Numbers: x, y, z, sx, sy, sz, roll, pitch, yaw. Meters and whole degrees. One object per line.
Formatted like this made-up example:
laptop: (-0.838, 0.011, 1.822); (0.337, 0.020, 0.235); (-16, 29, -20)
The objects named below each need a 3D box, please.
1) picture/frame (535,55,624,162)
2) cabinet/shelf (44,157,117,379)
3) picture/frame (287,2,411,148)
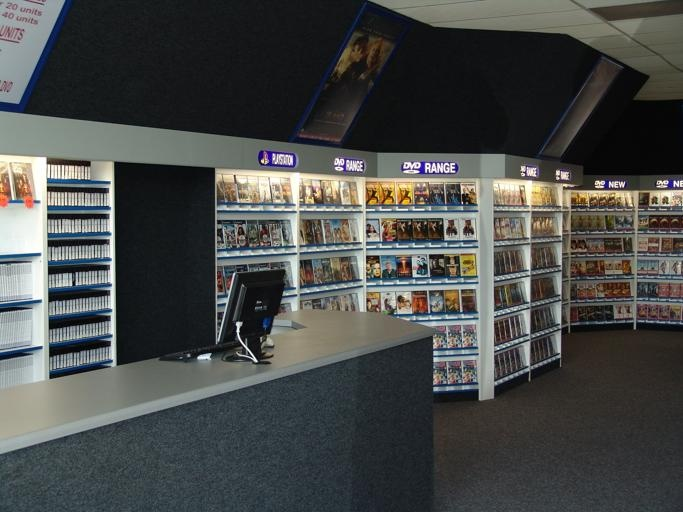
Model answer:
picture/frame: (3.792, -2.224, 7.602); (1.034, 1.390, 1.175); (1, 3, 34)
cabinet/shelf: (-2.453, 0.099, 4.590); (0.592, 1.980, 0.328); (-3, 3, -32)
picture/frame: (0.058, -2.048, 5.443); (0.132, 1.846, 1.391); (36, 8, 25)
